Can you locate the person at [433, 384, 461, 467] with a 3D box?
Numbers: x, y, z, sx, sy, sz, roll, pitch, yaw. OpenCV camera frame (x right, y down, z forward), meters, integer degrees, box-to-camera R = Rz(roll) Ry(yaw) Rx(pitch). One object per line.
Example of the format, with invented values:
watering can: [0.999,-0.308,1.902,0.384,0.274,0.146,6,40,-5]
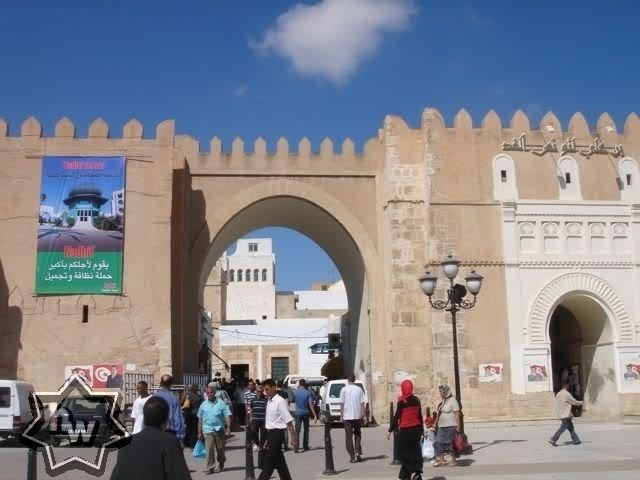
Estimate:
person: [2.964,4.257,21.809,0.619,1.810,0.647,-6,-8,33]

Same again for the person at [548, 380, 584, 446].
person: [6.279,4.401,24.136,0.804,1.521,1.964,-4,-7,15]

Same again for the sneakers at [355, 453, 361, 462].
sneakers: [0.920,5.116,22.303,0.148,0.198,0.501,-3,-7,4]

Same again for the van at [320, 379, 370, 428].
van: [0.674,4.965,28.956,1.213,1.163,2.314,0,-6,-4]

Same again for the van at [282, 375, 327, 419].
van: [-0.650,6.805,39.733,2.134,1.937,3.272,1,-4,-7]

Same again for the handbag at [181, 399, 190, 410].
handbag: [-3.374,4.106,23.683,0.173,0.249,0.089,2,11,-5]

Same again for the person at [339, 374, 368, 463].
person: [0.824,4.252,22.789,0.552,2.039,1.317,-2,-7,4]

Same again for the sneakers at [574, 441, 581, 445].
sneakers: [6.423,5.025,23.508,0.186,0.080,0.245,-4,-7,12]

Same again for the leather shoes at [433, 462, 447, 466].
leather shoes: [2.782,5.140,21.668,0.209,0.087,0.127,5,-10,5]
